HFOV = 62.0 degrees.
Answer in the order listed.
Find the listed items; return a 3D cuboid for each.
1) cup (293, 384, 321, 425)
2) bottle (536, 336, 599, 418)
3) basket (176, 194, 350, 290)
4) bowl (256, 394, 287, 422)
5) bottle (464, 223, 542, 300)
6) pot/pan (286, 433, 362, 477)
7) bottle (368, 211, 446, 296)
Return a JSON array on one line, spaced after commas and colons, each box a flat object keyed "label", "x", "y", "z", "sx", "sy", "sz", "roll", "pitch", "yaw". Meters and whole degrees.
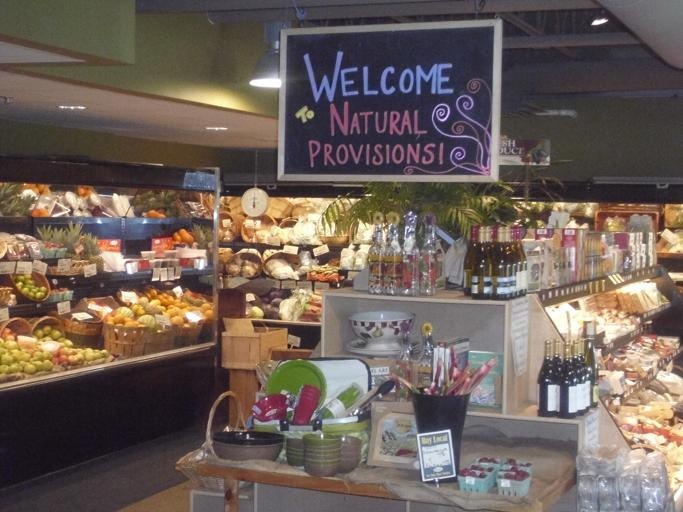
[{"label": "cup", "x": -0.168, "y": 0.716, "z": 2.764, "sx": 0.099, "sy": 0.195, "sz": 0.057, "roll": 15, "pitch": -24, "yaw": 12}, {"label": "bottle", "x": 1.193, "y": 0.635, "z": 3.010, "sx": 0.199, "sy": 0.391, "sz": 0.321, "roll": 2, "pitch": 2, "yaw": 40}, {"label": "basket", "x": -0.869, "y": -0.348, "z": 7.791, "sx": 2.073, "sy": 1.984, "sz": 1.095, "roll": -1, "pitch": -6, "yaw": 7}, {"label": "bowl", "x": -0.346, "y": 0.741, "z": 2.780, "sx": 0.139, "sy": 0.112, "sz": 0.111, "roll": 13, "pitch": -11, "yaw": -29}, {"label": "bottle", "x": 0.846, "y": 0.030, "z": 3.059, "sx": 0.348, "sy": 0.385, "sz": 0.265, "roll": 1, "pitch": 1, "yaw": 6}, {"label": "pot/pan", "x": -0.061, "y": 0.897, "z": 2.600, "sx": 0.181, "sy": 0.108, "sz": 0.230, "roll": -3, "pitch": -11, "yaw": 19}, {"label": "bottle", "x": 0.369, "y": -0.021, "z": 3.318, "sx": 0.427, "sy": 0.468, "sz": 0.386, "roll": 1, "pitch": 1, "yaw": 10}]
